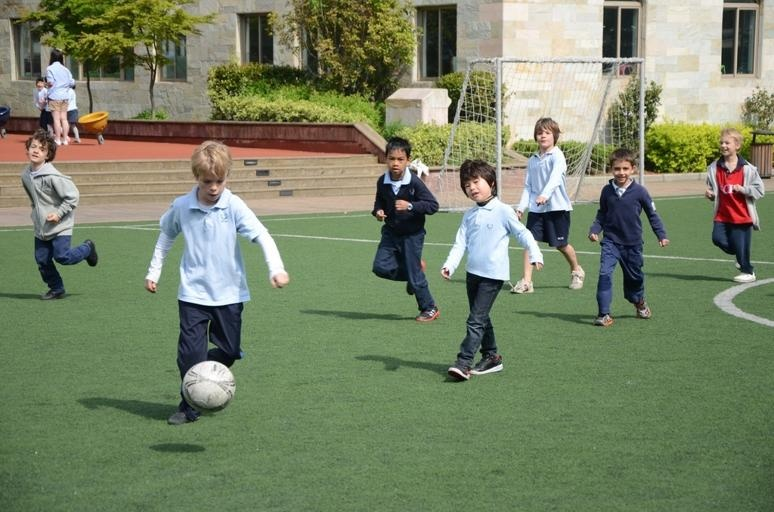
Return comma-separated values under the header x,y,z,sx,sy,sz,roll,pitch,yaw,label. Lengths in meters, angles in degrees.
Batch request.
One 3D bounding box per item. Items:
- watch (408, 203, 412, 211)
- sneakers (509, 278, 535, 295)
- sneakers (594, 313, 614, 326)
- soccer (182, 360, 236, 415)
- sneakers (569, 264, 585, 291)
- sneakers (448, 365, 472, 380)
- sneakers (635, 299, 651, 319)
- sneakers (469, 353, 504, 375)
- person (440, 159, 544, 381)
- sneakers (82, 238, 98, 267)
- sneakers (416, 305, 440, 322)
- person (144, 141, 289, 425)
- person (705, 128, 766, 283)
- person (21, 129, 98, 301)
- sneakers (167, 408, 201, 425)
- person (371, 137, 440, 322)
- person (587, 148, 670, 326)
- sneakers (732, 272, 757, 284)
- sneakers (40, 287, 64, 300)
x,y,z,sx,sy,sz,roll,pitch,yaw,label
0.241,-0.523,9.145,0.037,0.055,0.051,0,12,-1,watch
1.678,0.389,10.628,0.300,0.133,0.144,-1,2,-21,sneakers
2.318,0.676,9.165,0.096,0.098,0.223,1,9,29,sneakers
-1.351,0.974,6.407,0.377,0.353,0.238,-4,14,-15,soccer
2.420,0.283,10.941,0.139,0.162,0.377,-13,32,42,sneakers
0.652,1.021,7.621,0.212,0.167,0.262,1,13,4,sneakers
2.829,0.590,9.428,0.108,0.121,0.269,-9,-2,19,sneakers
0.925,0.994,7.792,0.364,0.156,0.124,-2,2,-24,sneakers
0.931,0.130,7.745,0.847,1.975,0.913,0,13,3,person
-3.853,-0.035,11.012,0.146,0.389,0.183,-5,25,7,sneakers
0.461,0.648,9.518,0.107,0.123,0.302,-3,-2,37,sneakers
-1.375,0.091,6.769,1.214,1.983,0.675,1,14,7,person
4.501,-0.676,11.055,0.698,1.930,0.807,5,14,21,person
-3.947,-0.479,10.148,0.630,1.981,0.419,-6,15,-22,person
-1.632,1.277,6.864,0.280,0.113,0.118,-12,-5,-11,sneakers
0.156,-0.291,9.311,0.741,2.011,0.441,5,14,20,person
2.634,-0.225,9.310,0.822,1.844,0.956,2,14,9,person
4.618,0.274,10.969,0.293,0.122,0.130,1,3,-5,sneakers
-4.020,0.465,10.311,0.309,0.127,0.112,0,-1,-38,sneakers
